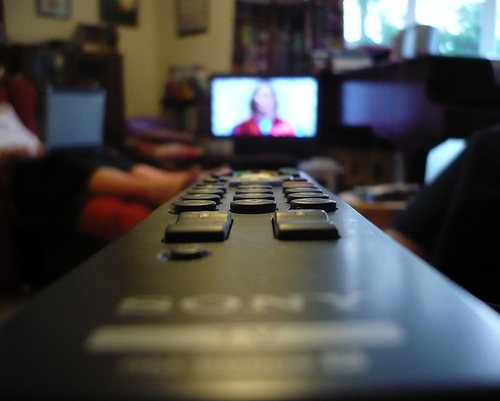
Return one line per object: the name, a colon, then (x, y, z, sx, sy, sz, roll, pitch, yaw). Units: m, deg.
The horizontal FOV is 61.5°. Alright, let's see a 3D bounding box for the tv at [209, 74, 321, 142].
tv: (0.050, -0.324, 1.503, 0.397, 0.231, 0.038, 1, 6, 9)
